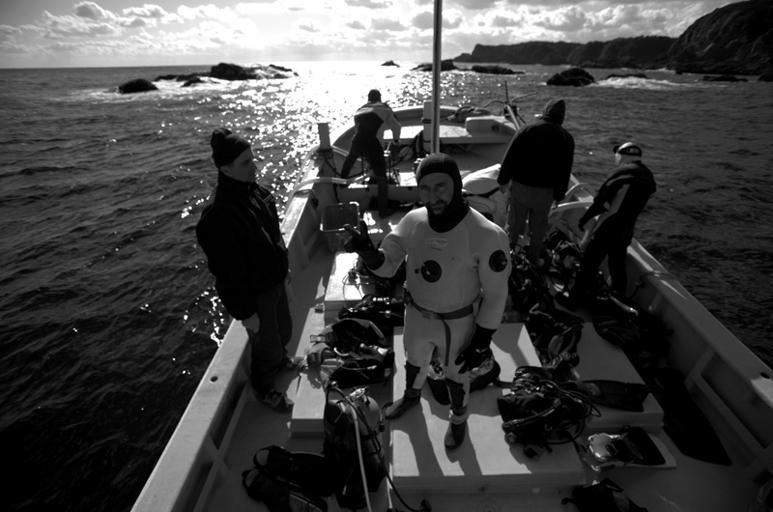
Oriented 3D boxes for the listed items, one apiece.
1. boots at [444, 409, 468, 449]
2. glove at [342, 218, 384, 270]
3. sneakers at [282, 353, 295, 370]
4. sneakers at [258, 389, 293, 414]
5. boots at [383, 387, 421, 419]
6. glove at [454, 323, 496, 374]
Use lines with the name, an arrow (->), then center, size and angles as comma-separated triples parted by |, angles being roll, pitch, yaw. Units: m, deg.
boots -> 0.846, 2.139, 5.663 | 0.226, 0.381, 0.568 | 7, 40, 15
glove -> -0.199, -0.070, 5.606 | 0.519, 0.954, 0.243 | -12, 68, 17
sneakers -> -1.381, 1.465, 6.535 | 0.179, 0.237, 0.090 | -10, 16, 7
sneakers -> -1.459, 1.953, 6.267 | 0.527, 0.217, 0.225 | 23, 53, 3
boots -> 0.212, 1.908, 5.960 | 0.472, 0.290, 0.157 | -26, 27, 6
glove -> 1.213, 1.110, 5.494 | 0.641, 0.586, 0.207 | 3, 30, 9
